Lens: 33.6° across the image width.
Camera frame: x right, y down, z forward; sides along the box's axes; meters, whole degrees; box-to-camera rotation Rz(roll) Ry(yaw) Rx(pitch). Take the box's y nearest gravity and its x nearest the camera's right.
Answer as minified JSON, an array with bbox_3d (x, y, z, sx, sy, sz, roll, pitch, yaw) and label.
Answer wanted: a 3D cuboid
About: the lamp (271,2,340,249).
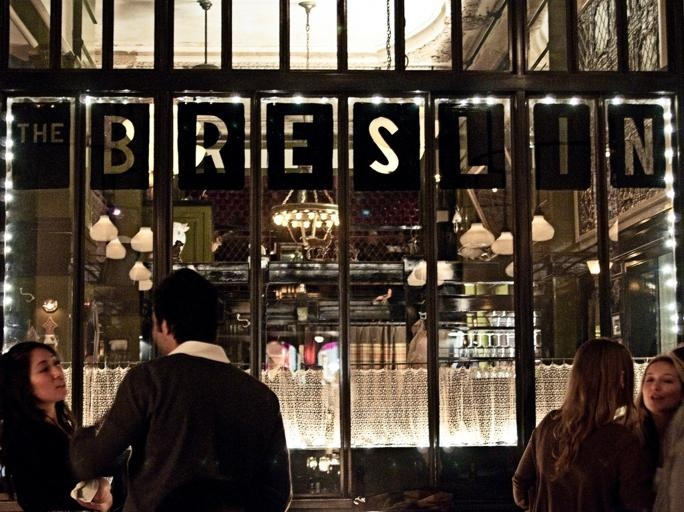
[{"bbox_3d":[-0.308,-1.093,9.669,0.544,2.152,0.331,1,-7,-3],"label":"lamp"}]

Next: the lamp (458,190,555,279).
[{"bbox_3d":[1.467,-0.180,10.055,0.772,0.871,0.682,-1,-8,5],"label":"lamp"}]
